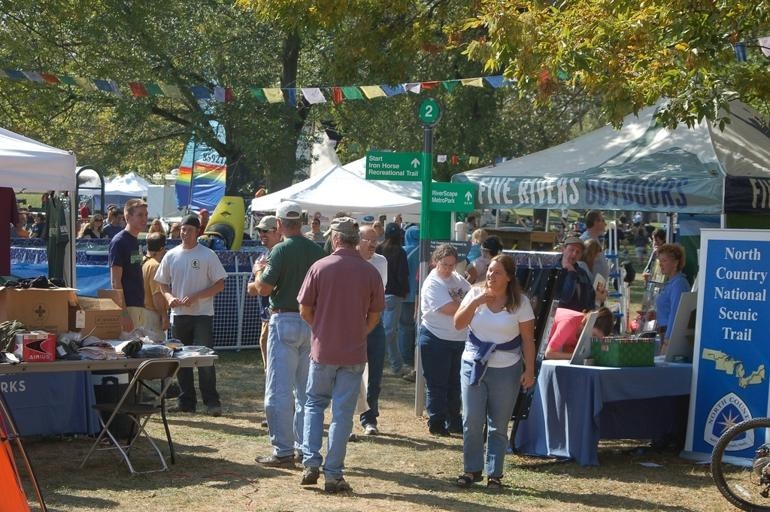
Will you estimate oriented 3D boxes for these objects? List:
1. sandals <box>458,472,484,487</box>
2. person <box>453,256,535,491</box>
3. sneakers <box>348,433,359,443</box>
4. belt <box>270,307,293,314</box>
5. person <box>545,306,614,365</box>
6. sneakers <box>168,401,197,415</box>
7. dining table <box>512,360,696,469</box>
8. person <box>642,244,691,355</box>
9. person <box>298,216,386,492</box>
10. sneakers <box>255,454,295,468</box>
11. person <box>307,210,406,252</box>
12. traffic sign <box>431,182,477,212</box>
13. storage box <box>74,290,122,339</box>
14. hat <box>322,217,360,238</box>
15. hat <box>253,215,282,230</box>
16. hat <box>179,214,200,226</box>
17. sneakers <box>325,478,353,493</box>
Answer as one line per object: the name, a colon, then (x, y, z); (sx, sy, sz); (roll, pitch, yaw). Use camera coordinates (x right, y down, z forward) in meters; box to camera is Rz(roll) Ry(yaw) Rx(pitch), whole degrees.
sandals: (1.081, 2.911, 15.462); (0.132, 0.117, 0.352); (-3, -6, 37)
person: (1.377, 1.491, 15.345); (1.015, 2.999, 0.450); (4, 11, 4)
sneakers: (-0.460, 2.600, 16.981); (0.193, 0.137, 0.195); (1, 3, 3)
belt: (-1.343, 0.733, 15.617); (0.326, 0.085, 0.081); (4, 11, 5)
person: (2.712, 1.107, 16.623); (0.776, 0.534, 0.720); (7, 4, 22)
sneakers: (-3.073, 2.293, 17.915); (0.420, 0.180, 0.181); (4, -5, 5)
dining table: (3.121, 2.201, 16.950); (2.253, 1.128, 1.663); (1, -7, -38)
person: (4.139, 0.636, 17.147); (0.405, 1.553, 0.825); (3, 11, 1)
person: (-0.583, 1.248, 15.155); (0.983, 3.347, 0.930); (-1, 12, -20)
sneakers: (-1.438, 2.693, 15.659); (0.520, 0.240, 0.194); (7, -1, 3)
person: (-0.490, -0.421, 20.295); (1.046, 0.751, 1.058); (-1, -3, 1)
traffic sign: (1.008, -0.900, 18.224); (0.923, 0.468, 0.200); (-7, 15, -40)
storage box: (-3.869, 0.793, 15.931); (0.593, 0.642, 0.466); (0, 11, -32)
hat: (-0.563, -0.357, 15.310); (0.238, 0.165, 0.334); (-3, 7, -44)
hat: (-1.650, -0.458, 16.655); (0.195, 0.156, 0.280); (0, -9, 31)
hat: (-2.907, -0.509, 17.683); (0.258, 0.187, 0.365); (1, 11, -10)
sneakers: (-0.611, 2.901, 15.064); (0.362, 0.176, 0.149); (1, 3, -34)
